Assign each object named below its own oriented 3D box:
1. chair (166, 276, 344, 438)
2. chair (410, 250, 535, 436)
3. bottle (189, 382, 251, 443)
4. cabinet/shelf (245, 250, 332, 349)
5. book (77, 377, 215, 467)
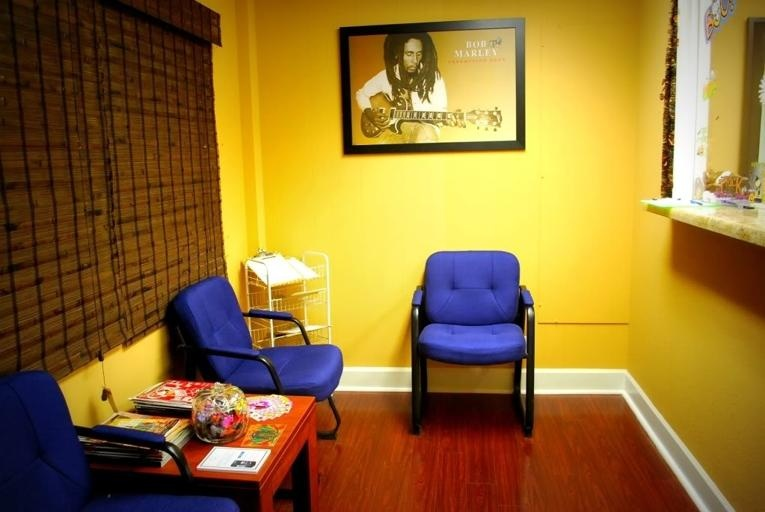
[{"bbox_3d":[-0.782,0.564,3.437,0.961,0.871,0.711,3,11,4],"label":"chair"},{"bbox_3d":[0.621,0.571,3.808,0.824,1.093,0.759,1,16,8],"label":"chair"},{"bbox_3d":[-0.780,0.755,2.726,0.253,0.266,0.261,0,-2,19],"label":"bottle"},{"bbox_3d":[-0.658,0.403,4.081,0.514,0.886,0.328,-9,15,-7],"label":"cabinet/shelf"},{"bbox_3d":[-1.145,0.785,2.710,0.314,0.114,0.455,4,6,9],"label":"book"}]
